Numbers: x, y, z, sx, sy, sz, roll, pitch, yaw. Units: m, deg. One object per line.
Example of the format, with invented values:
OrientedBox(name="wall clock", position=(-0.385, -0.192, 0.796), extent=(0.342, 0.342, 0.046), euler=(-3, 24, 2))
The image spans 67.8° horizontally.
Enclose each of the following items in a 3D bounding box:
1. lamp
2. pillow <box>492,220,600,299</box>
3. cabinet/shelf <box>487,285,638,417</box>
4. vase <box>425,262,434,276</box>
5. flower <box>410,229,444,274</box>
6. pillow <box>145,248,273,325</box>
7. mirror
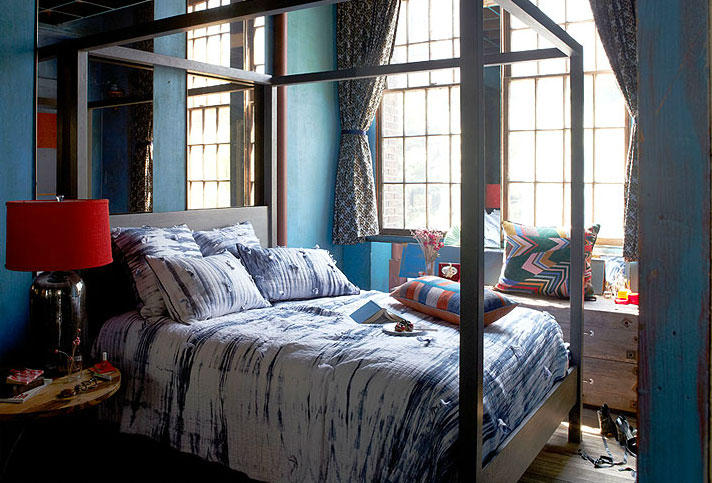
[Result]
OrientedBox(name="lamp", position=(-1.577, 0.232, 2.812), extent=(0.502, 0.914, 0.336), euler=(-1, 6, -19))
OrientedBox(name="pillow", position=(1.577, 0.164, 4.337), extent=(0.637, 0.504, 0.225), euler=(3, 4, 27))
OrientedBox(name="cabinet/shelf", position=(1.755, 0.815, 4.303), extent=(1.378, 0.933, 0.803), euler=(3, 3, 28))
OrientedBox(name="vase", position=(0.718, 0.247, 5.103), extent=(0.111, 0.185, 0.117), euler=(0, 0, 11))
OrientedBox(name="flower", position=(0.722, 0.074, 5.182), extent=(0.388, 0.526, 0.399), euler=(-2, 3, -21))
OrientedBox(name="pillow", position=(-0.972, 0.274, 3.546), extent=(0.381, 0.347, 0.893), euler=(12, 7, 22))
OrientedBox(name="mirror", position=(-1.477, -0.912, 3.688), extent=(0.064, 1.786, 1.729), euler=(9, 14, 41))
